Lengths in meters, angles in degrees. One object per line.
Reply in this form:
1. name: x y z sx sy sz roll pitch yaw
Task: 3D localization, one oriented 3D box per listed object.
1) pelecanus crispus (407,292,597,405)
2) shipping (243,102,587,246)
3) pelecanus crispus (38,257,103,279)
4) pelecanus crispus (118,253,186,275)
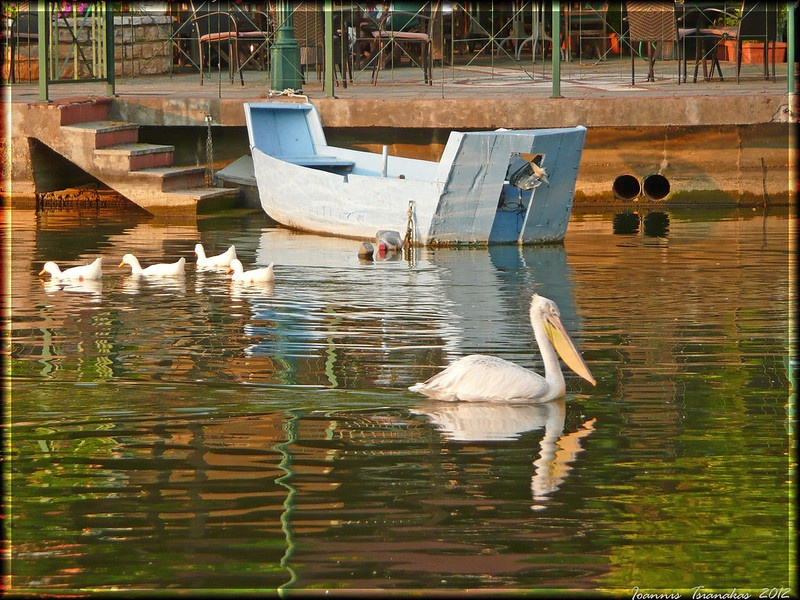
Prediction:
1. pelecanus crispus: 0.995 0.512 15.929 1.714 0.930 0.728 -4 6 37
2. shipping: 0.009 -1.696 24.185 4.697 1.433 2.400 9 11 36
3. pelecanus crispus: -4.106 -0.382 20.859 0.839 0.240 0.436 3 10 26
4. pelecanus crispus: -3.049 -0.423 21.192 0.917 0.320 0.279 3 -2 6
